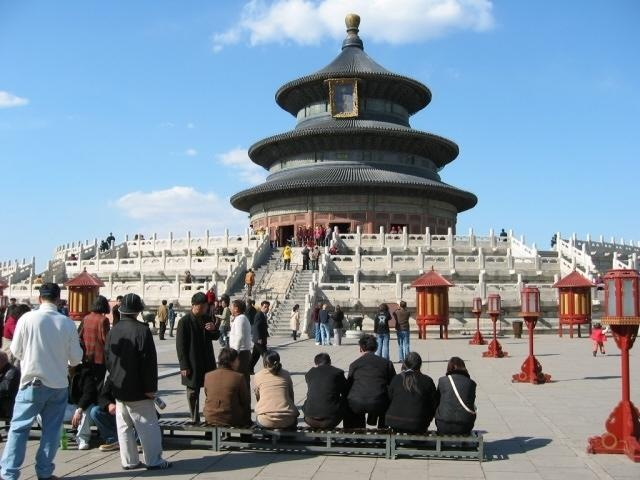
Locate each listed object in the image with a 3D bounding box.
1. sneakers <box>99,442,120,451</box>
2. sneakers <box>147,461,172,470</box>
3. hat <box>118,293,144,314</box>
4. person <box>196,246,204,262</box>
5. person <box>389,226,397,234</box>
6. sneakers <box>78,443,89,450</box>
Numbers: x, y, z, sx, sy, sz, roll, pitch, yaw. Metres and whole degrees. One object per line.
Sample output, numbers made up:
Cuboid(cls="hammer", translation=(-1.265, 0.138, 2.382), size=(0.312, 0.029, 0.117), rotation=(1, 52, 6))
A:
Cuboid(cls="sneakers", translation=(-3.478, 3.417, 13.871), size=(0.359, 0.146, 0.123), rotation=(4, -9, -4))
Cuboid(cls="sneakers", translation=(-2.505, 3.533, 13.100), size=(0.381, 0.162, 0.130), rotation=(-1, 2, -9))
Cuboid(cls="hat", translation=(-3.028, 1.035, 13.574), size=(0.314, 0.221, 0.371), rotation=(0, 1, 0))
Cuboid(cls="person", translation=(-5.733, 0.701, 39.886), size=(0.539, 0.770, 0.494), rotation=(0, -10, -9))
Cuboid(cls="person", translation=(4.083, -0.529, 47.131), size=(0.420, 0.354, 0.980), rotation=(-3, -2, 7))
Cuboid(cls="sneakers", translation=(-3.920, 3.432, 13.894), size=(0.180, 0.077, 0.070), rotation=(3, -5, 5))
